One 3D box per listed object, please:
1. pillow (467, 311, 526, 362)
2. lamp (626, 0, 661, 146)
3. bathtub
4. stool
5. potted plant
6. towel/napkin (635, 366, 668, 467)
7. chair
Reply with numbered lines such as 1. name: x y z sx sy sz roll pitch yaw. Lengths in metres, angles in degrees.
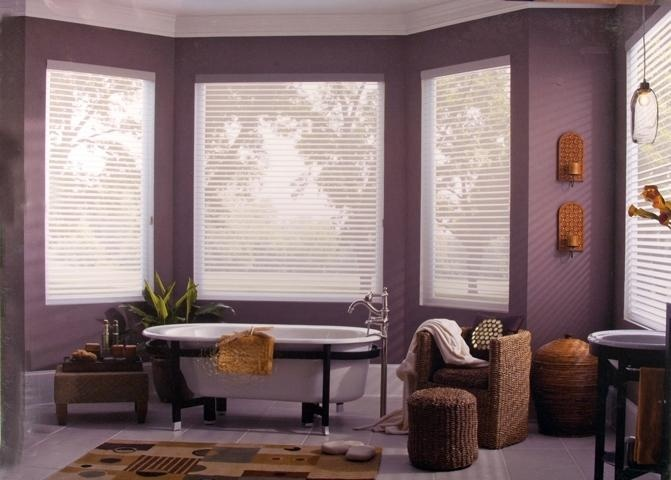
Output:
1. pillow: 1.239 0.733 4.638 0.111 0.344 0.380 37 -17 -37
2. lamp: 1.664 -0.775 3.222 0.059 0.524 0.122 -2 5 -37
3. bathtub: -0.541 1.021 4.911 1.908 0.661 0.734 1 4 4
4. stool: 0.707 1.290 4.149 0.514 0.432 0.490 0 -1 1
5. potted plant: -1.518 0.789 5.623 1.520 1.361 0.997 1 -3 -13
6. towel/napkin: 1.665 0.942 3.179 0.122 0.516 0.065 3 4 26
7. chair: 1.146 1.104 4.734 0.891 0.823 0.847 -3 -7 28
